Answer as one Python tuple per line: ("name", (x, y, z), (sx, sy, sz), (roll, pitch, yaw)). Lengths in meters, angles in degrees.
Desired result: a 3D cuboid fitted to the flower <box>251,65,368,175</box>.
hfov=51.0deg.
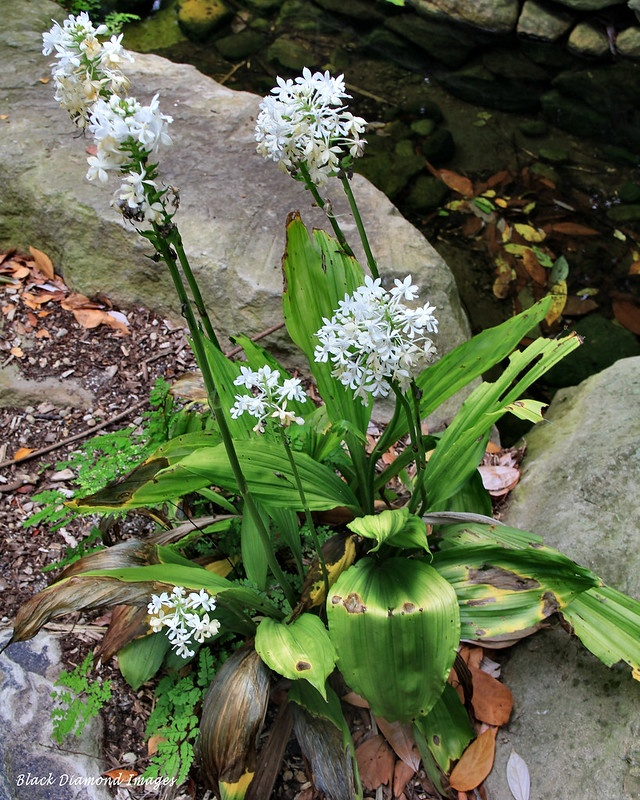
("flower", (-0.019, -0.554, 1.362), (0.218, 0.240, 0.185), (4, 42, -7))
